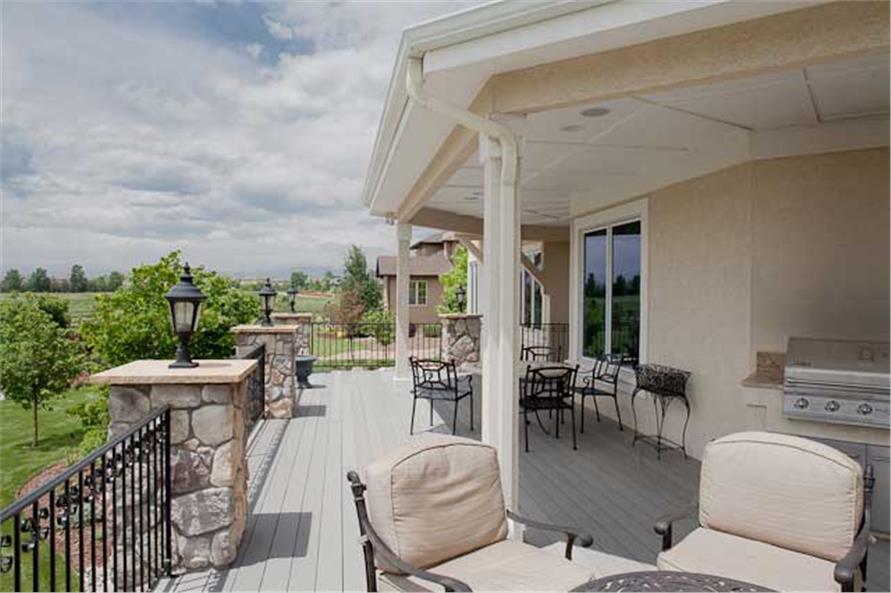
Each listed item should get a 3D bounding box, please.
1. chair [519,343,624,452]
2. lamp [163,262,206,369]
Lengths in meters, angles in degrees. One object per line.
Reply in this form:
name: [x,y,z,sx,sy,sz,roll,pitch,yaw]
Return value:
chair: [1.572,1.311,8.187,1.223,1.860,1.127,1,-1,-9]
lamp: [-2.310,0.143,5.416,0.308,0.946,0.691,-1,-1,-25]
